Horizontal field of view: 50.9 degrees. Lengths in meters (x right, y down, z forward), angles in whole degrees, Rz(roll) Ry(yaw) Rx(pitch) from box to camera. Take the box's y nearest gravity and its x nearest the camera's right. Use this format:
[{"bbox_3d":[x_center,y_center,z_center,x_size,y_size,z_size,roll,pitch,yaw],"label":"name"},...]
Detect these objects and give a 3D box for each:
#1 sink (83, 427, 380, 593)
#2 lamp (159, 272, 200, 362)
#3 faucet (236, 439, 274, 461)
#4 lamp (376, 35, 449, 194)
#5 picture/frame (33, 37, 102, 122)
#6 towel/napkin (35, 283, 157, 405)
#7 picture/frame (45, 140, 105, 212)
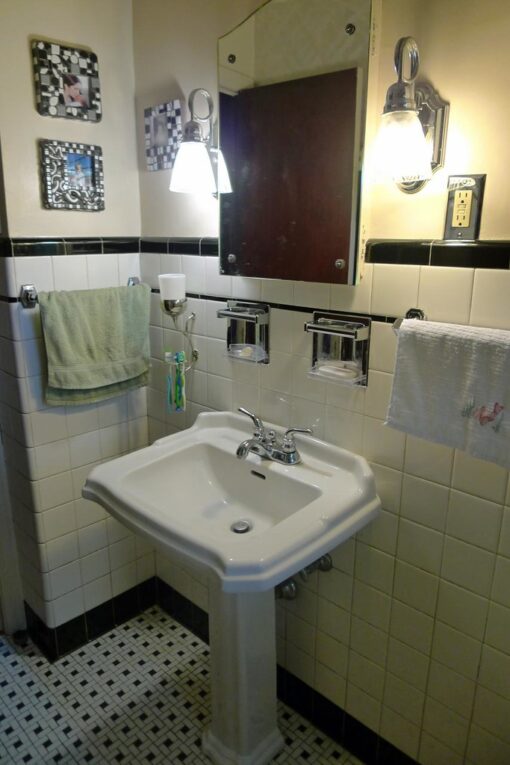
[{"bbox_3d":[-0.070,0.267,1.276,0.633,0.214,0.498,11,17,43],"label":"sink"},{"bbox_3d":[-0.230,-0.190,1.667,0.106,0.293,0.260,-2,11,-7],"label":"lamp"},{"bbox_3d":[0.004,0.161,1.344,0.035,0.059,0.138,5,2,26],"label":"faucet"},{"bbox_3d":[0.292,-0.498,0.999,0.119,0.263,0.137,6,12,30],"label":"lamp"},{"bbox_3d":[-0.549,-0.882,1.549,0.030,0.269,0.240,11,15,38],"label":"picture/frame"},{"bbox_3d":[-0.514,-0.134,1.691,0.041,0.333,0.306,12,22,35],"label":"towel/napkin"},{"bbox_3d":[-0.552,-0.635,1.625,0.015,0.197,0.198,13,19,32],"label":"picture/frame"}]
